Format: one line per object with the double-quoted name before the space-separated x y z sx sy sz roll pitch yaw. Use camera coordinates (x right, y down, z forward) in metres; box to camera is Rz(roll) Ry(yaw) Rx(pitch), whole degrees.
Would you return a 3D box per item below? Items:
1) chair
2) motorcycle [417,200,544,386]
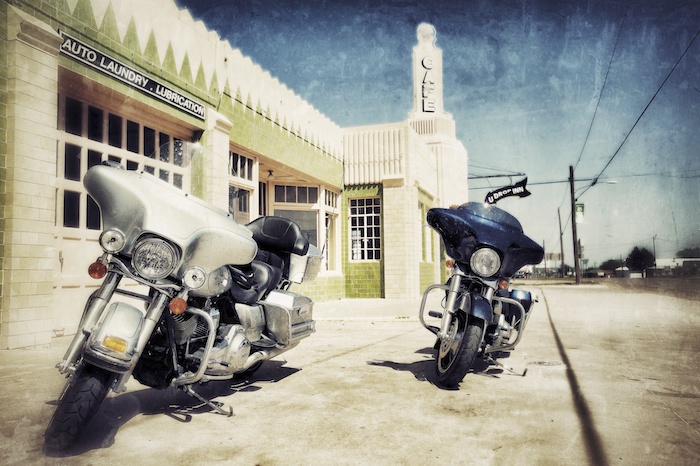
"chair" -0.941 0.153 7.543 0.544 0.722 1.184 4 -9 17
"motorcycle" 1.655 0.741 7.313 1.525 2.221 0.977 -4 8 -30
